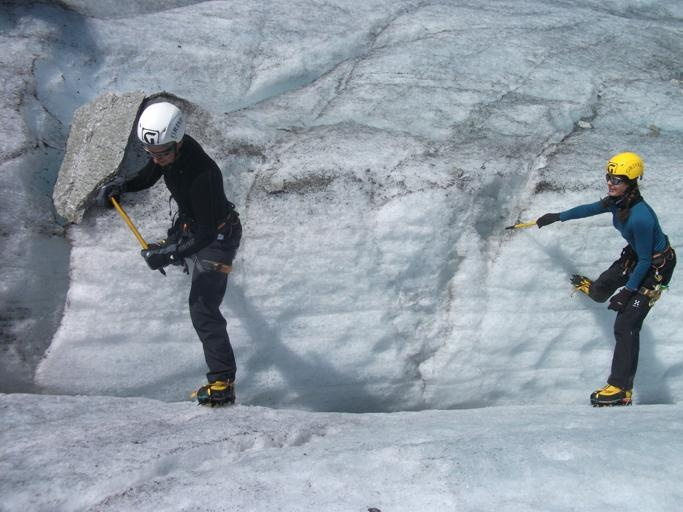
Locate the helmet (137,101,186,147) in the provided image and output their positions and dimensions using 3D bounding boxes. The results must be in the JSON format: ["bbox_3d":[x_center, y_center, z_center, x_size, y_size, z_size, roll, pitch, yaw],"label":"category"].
[{"bbox_3d":[-1.949,-1.416,9.302,0.478,0.482,0.298,-1,11,-6],"label":"helmet"}]

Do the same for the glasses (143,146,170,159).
[{"bbox_3d":[-1.964,-1.101,9.292,0.291,0.204,0.143,2,11,13],"label":"glasses"}]

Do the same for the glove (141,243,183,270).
[{"bbox_3d":[-1.997,0.014,9.560,0.450,0.282,0.268,0,10,-2],"label":"glove"}]

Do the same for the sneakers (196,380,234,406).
[{"bbox_3d":[-1.360,1.567,9.684,0.348,0.176,0.433,-4,-7,40],"label":"sneakers"}]

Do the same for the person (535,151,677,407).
[{"bbox_3d":[3.185,0.281,9.692,1.031,2.854,1.156,-4,12,-18],"label":"person"}]

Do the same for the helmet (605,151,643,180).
[{"bbox_3d":[3.116,-0.978,9.454,0.366,0.284,0.220,1,10,5],"label":"helmet"}]

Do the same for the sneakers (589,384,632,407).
[{"bbox_3d":[2.996,1.581,9.542,0.537,0.166,0.217,2,-2,6],"label":"sneakers"}]
